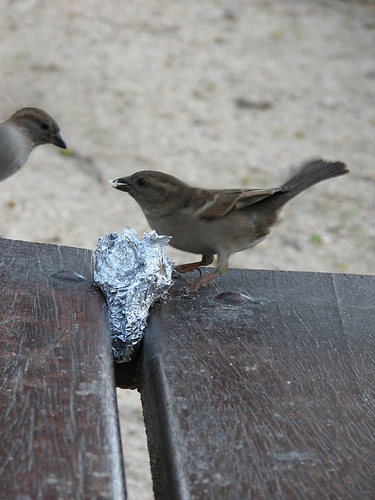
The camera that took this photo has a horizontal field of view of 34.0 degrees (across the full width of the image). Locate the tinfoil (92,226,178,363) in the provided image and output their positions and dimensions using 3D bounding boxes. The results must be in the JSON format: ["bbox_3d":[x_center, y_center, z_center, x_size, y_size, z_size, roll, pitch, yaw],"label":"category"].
[{"bbox_3d":[-0.127,0.094,1.374,0.183,0.185,0.322,4,30,-1],"label":"tinfoil"}]

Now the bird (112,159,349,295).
[{"bbox_3d":[0.143,-0.093,1.861,0.739,0.304,0.208,-5,13,-10],"label":"bird"}]
